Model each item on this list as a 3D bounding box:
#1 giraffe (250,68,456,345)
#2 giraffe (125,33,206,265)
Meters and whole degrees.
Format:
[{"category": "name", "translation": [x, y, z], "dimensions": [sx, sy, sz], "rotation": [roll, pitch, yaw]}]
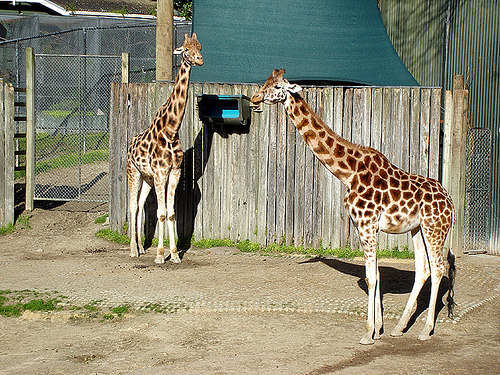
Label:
[{"category": "giraffe", "translation": [1.749, 0.307, 11.491], "dimensions": [2.595, 3.475, 1.304], "rotation": [3, 12, 13]}, {"category": "giraffe", "translation": [-1.638, -0.745, 14.247], "dimensions": [1.556, 4.085, 1.224], "rotation": [8, 14, 33]}]
